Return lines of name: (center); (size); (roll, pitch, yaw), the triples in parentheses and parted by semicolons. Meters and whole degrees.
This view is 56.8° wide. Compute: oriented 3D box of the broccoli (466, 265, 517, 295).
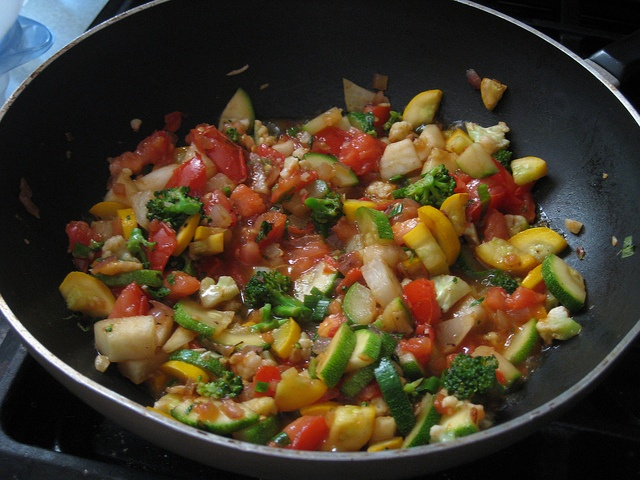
broccoli: (0.798, 0.173, 2.757); (0.217, 0.102, 0.099); (34, 84, 7)

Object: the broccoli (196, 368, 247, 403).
broccoli: (-0.415, 0.611, 2.454); (0.182, 0.062, 0.081); (-7, 86, -2)

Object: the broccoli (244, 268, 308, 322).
broccoli: (-0.189, 0.258, 2.779); (0.324, 0.186, 0.148); (22, 46, 5)

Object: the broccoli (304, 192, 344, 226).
broccoli: (0.017, -0.152, 2.838); (0.200, 0.049, 0.133); (-3, 107, 4)

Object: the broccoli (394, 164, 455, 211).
broccoli: (0.525, -0.253, 2.881); (0.276, 0.073, 0.208); (-5, 54, 32)
